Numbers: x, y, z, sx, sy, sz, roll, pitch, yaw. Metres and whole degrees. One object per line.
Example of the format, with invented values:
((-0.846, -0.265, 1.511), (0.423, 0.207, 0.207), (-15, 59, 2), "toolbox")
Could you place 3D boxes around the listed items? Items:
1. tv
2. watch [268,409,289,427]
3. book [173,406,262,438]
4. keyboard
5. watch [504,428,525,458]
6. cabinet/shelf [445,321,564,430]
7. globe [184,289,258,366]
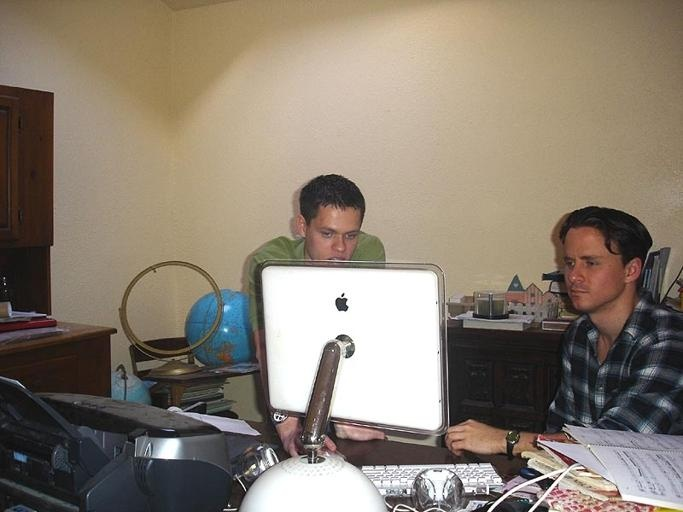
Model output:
((0.030, 0.229, 1.485), (0.499, 0.408, 0.054), (0, 5, 19), "tv")
((-0.177, 0.458, 1.641), (0.052, 0.020, 0.074), (12, -36, 2), "watch")
((-0.405, 0.544, 1.829), (0.230, 0.054, 0.219), (12, 1, 16), "book")
((0.259, 0.630, 1.635), (0.402, 0.054, 0.155), (1, 3, -1), "keyboard")
((0.569, 0.605, 1.828), (0.047, 0.069, 0.074), (-4, 3, 42), "watch")
((0.871, 0.618, 2.950), (0.710, 0.648, 0.272), (3, 8, 19), "cabinet/shelf")
((-0.711, 0.452, 3.663), (0.477, 0.531, 0.474), (1, -8, 0), "globe")
